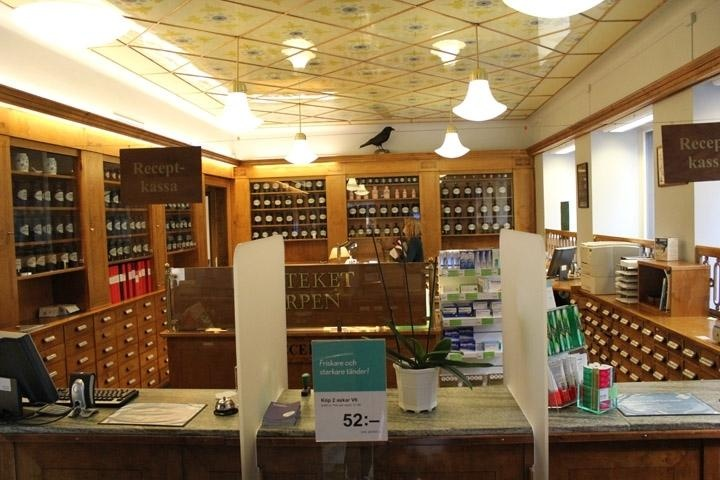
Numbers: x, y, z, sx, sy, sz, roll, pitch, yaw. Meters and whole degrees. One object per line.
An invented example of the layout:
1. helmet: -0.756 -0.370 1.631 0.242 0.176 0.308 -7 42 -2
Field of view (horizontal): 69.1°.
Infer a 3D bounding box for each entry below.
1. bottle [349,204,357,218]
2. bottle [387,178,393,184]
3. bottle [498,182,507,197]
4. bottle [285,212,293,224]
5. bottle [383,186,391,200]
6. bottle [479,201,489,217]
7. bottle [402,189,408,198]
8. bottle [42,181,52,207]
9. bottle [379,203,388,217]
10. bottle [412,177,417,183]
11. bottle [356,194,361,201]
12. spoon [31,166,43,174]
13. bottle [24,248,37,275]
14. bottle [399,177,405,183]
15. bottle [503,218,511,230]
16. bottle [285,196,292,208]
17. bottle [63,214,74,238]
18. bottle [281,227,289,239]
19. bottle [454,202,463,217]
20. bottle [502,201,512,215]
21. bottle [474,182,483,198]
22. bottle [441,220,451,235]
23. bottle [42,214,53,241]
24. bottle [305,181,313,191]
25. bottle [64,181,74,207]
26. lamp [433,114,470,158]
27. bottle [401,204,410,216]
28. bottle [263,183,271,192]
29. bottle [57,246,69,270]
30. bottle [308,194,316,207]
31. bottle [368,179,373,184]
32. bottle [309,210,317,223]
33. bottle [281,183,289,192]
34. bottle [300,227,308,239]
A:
1. bottle: -0.118 -0.497 9.382 0.191 0.154 0.046 1 3 35
2. bottle: 0.539 -1.064 9.499 0.095 0.107 0.028 1 -15 21
3. bottle: 2.439 -0.862 8.973 0.255 0.237 0.060 -2 0 -30
4. bottle: -1.258 -0.388 9.494 0.166 0.241 0.154 0 -5 0
5. bottle: 0.473 -0.827 9.314 0.120 0.238 0.122 -3 0 0
6. bottle: 2.060 -0.500 8.697 0.129 0.246 0.080 -3 0 11
7. bottle: 0.794 -0.823 9.334 0.102 0.159 0.085 -2 0 -8
8. bottle: -3.461 -0.511 5.809 0.027 0.284 0.108 -3 0 1
9. bottle: 0.433 -0.525 9.204 0.178 0.268 0.164 1 2 0
10. bottle: 0.968 -1.073 9.408 0.164 0.114 0.036 -2 0 8
11. bottle: -0.023 -0.748 9.332 0.134 0.113 0.065 0 -3 16
12. spoon: -3.490 -0.756 5.675 0.054 0.059 0.086 1 -16 -3
13. bottle: -3.519 0.252 5.598 0.032 0.237 0.158 -3 0 11
14. bottle: 0.756 -1.071 9.417 0.101 0.079 0.088 0 -10 4
15. bottle: 2.466 -0.286 8.743 0.049 0.173 0.258 -3 -1 41
16. bottle: -1.280 -0.683 9.464 0.151 0.205 0.042 -3 0 24
17. bottle: -3.359 -0.159 6.068 0.027 0.276 0.134 -3 0 14
18. bottle: -1.318 -0.120 9.251 0.137 0.190 0.344 -2 0 -8
19. bottle: 1.672 -0.499 8.894 0.145 0.212 0.036 -3 0 31
20. bottle: 2.480 -0.526 8.850 0.112 0.216 0.243 -3 0 31
21. bottle: 2.005 -0.846 8.849 0.177 0.232 0.072 -2 0 -27
22. bottle: 1.485 -0.211 9.020 0.225 0.313 0.186 0 -2 8
23. bottle: -3.452 -0.140 5.796 0.034 0.288 0.143 -3 0 3
24. bottle: -0.906 -0.973 9.404 0.045 0.191 0.175 -3 0 43
25. bottle: -3.355 -0.529 6.092 0.040 0.303 0.152 -3 0 14
26. lamp: 1.048 -1.132 5.990 0.296 0.377 0.584 -2 0 11
27. bottle: 0.790 -0.514 9.163 0.128 0.189 0.129 -2 0 0
28. bottle: -1.732 -0.972 9.721 0.155 0.097 0.133 -1 2 -33
29. bottle: -3.384 0.212 5.989 0.023 0.239 0.137 -3 0 19
30. bottle: -0.850 -0.701 9.386 0.175 0.227 0.061 -2 0 -29
31. bottle: 0.192 -1.077 9.634 0.111 0.093 0.052 0 -3 6
32. bottle: -0.844 -0.412 9.278 0.198 0.287 0.181 1 -2 0
33. bottle: -1.361 -0.955 9.566 0.121 0.051 0.160 -8 32 -33
34. bottle: -0.980 -0.110 9.359 0.149 0.203 0.141 -1 -8 0
